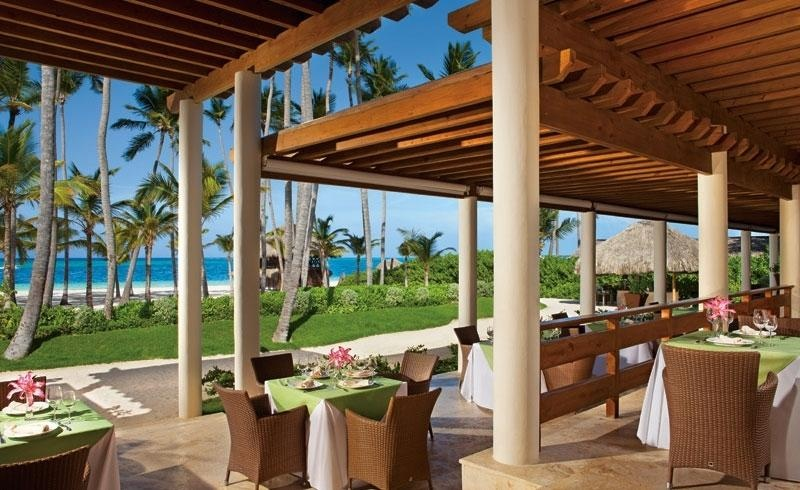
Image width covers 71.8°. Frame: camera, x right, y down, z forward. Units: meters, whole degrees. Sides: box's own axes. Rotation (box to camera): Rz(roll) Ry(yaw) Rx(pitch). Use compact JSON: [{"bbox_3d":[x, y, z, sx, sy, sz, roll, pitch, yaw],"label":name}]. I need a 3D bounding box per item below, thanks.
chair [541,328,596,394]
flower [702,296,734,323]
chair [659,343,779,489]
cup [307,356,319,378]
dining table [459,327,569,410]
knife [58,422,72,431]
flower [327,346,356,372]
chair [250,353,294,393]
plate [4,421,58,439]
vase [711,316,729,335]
[{"bbox_3d":[2.727,1.869,9.059,1.230,0.862,1.061,3,-6,-23],"label":"chair"},{"bbox_3d":[4.526,0.827,7.764,0.465,0.456,0.479,1,3,20],"label":"flower"},{"bbox_3d":[3.738,1.945,6.742,1.532,2.065,1.559,0,-2,31],"label":"chair"},{"bbox_3d":[-1.197,1.743,7.750,0.094,0.213,0.162,16,-13,-29],"label":"cup"},{"bbox_3d":[1.758,2.170,9.988,1.232,0.737,1.230,0,2,-40],"label":"dining table"},{"bbox_3d":[-3.806,2.055,6.246,0.065,0.073,0.288,-4,6,-39],"label":"knife"},{"bbox_3d":[-0.872,1.590,7.734,0.367,0.330,0.373,-11,-13,43],"label":"flower"},{"bbox_3d":[-1.943,1.951,8.661,0.586,0.726,0.449,-2,-3,-38],"label":"chair"},{"bbox_3d":[-4.114,2.056,6.133,0.255,0.035,0.260,4,2,35],"label":"plate"},{"bbox_3d":[4.408,1.115,7.709,0.259,0.274,0.251,-3,-1,6],"label":"vase"}]
